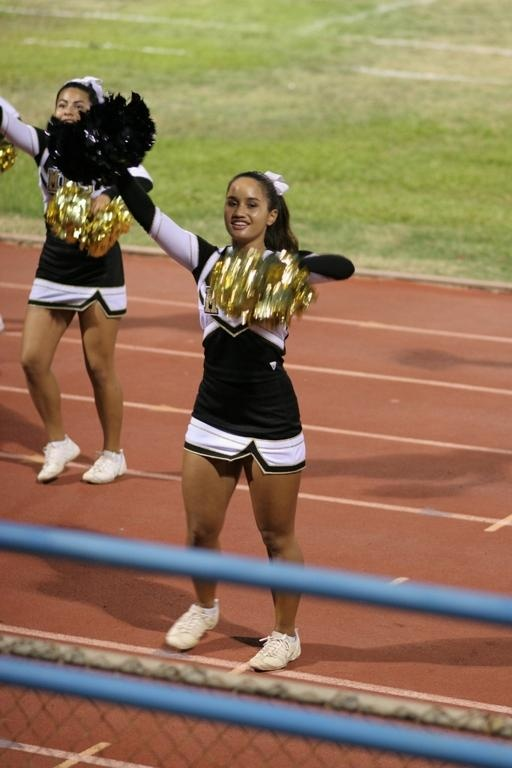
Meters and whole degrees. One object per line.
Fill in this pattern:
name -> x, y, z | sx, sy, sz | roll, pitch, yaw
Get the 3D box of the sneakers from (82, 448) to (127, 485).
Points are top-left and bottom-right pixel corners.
sneakers -> -0.791, 0.428, 4.620 | 0.112, 0.123, 0.300 | 22, 23, 26

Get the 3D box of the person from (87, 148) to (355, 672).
person -> -0.107, 0.137, 2.908 | 0.698, 1.673, 0.450 | 6, 9, 1

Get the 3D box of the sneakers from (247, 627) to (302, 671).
sneakers -> 0.082, 0.887, 3.068 | 0.090, 0.096, 0.243 | 11, 14, 35
